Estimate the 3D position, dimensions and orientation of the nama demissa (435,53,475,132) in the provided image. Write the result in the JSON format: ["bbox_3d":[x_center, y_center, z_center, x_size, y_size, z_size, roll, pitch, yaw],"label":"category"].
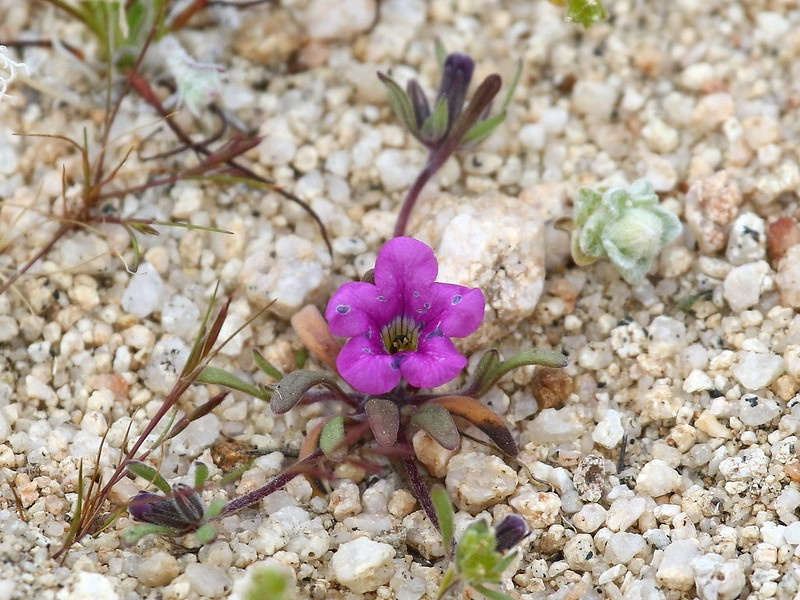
[{"bbox_3d":[0.213,-0.848,3.411,0.105,0.282,0.139,15,45,8],"label":"nama demissa"}]

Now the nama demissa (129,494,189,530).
[{"bbox_3d":[-0.858,0.753,2.975,0.179,0.130,0.075,11,67,-1],"label":"nama demissa"}]
